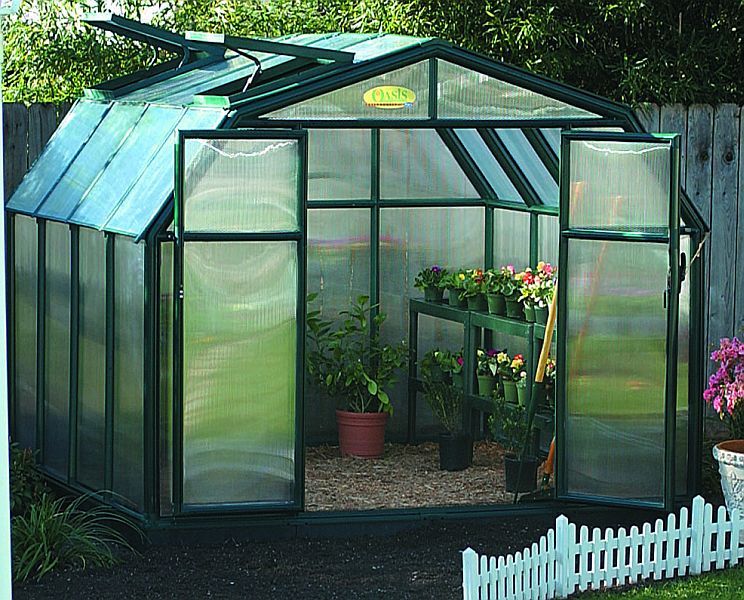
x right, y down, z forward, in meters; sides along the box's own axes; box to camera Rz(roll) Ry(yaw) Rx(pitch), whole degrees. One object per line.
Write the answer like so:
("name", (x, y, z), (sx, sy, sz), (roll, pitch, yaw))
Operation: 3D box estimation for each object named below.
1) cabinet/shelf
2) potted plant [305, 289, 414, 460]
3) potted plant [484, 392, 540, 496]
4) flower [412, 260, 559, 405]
("cabinet/shelf", (0.854, 0.533, 8.348), (0.410, 0.996, 1.156), (1, 4, -25))
("potted plant", (-0.148, 0.579, 8.835), (0.817, 1.339, 0.729), (0, 7, 1))
("potted plant", (1.039, 1.077, 7.837), (0.342, 0.613, 0.796), (0, 7, 1))
("flower", (0.950, 0.215, 8.358), (0.355, 1.048, 1.507), (-4, 8, -32))
